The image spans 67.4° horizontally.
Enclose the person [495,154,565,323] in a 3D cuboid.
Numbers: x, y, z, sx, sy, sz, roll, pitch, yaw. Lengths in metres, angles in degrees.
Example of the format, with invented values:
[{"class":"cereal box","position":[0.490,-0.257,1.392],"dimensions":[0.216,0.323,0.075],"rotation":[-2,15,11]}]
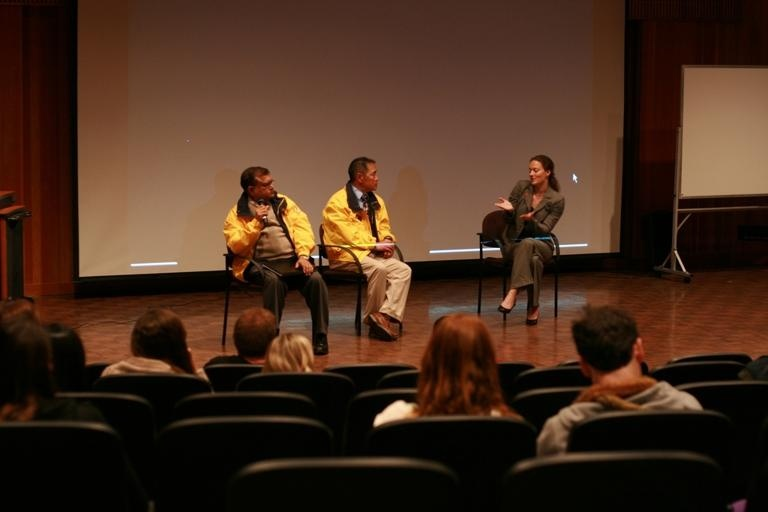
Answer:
[{"class":"person","position":[1.458,-0.191,5.845],"dimensions":[0.579,1.608,0.887],"rotation":[4,10,25]}]

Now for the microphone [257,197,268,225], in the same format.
[{"class":"microphone","position":[-1.058,-0.381,5.000],"dimensions":[0.104,0.193,0.299],"rotation":[-2,10,-12]}]
